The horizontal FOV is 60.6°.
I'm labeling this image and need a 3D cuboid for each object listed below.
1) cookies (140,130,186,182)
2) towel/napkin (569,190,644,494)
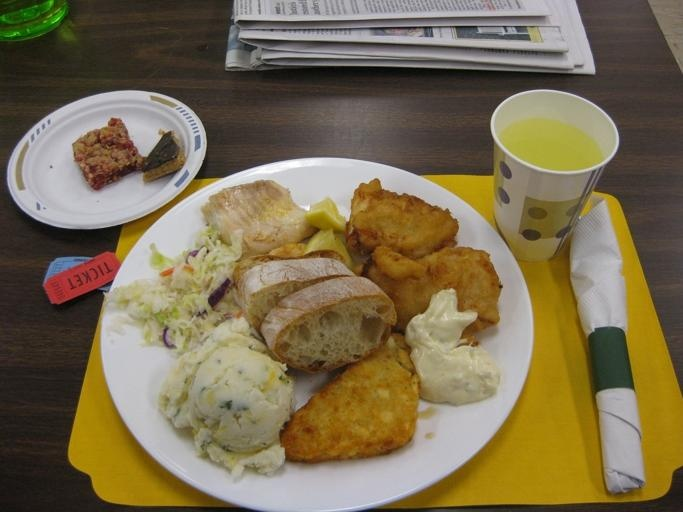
[{"bbox_3d":[-0.673,-0.359,2.209,0.131,0.066,0.237,7,50,18],"label":"cookies"},{"bbox_3d":[0.805,0.276,1.862,0.149,0.140,0.840,0,65,3],"label":"towel/napkin"}]
